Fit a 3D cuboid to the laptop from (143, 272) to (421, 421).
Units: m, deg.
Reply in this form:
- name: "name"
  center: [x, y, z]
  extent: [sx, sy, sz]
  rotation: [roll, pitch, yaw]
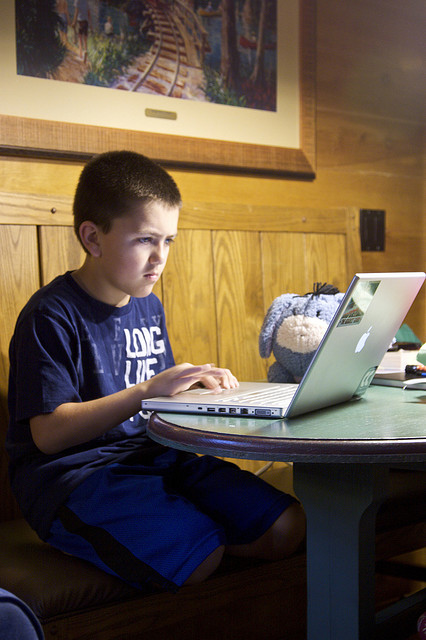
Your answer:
- name: "laptop"
  center: [0.090, 0.054, 0.706]
  extent: [0.286, 0.169, 0.290]
  rotation: [0, -2, 25]

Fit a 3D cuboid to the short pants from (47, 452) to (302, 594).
- name: "short pants"
  center: [-0.068, 0.295, 0.793]
  extent: [0.281, 0.096, 0.280]
  rotation: [2, 6, 35]

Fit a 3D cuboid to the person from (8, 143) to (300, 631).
- name: "person"
  center: [-0.015, 0.111, 1.486]
  extent: [0.788, 1.290, 0.727]
  rotation: [-9, -10, 28]
